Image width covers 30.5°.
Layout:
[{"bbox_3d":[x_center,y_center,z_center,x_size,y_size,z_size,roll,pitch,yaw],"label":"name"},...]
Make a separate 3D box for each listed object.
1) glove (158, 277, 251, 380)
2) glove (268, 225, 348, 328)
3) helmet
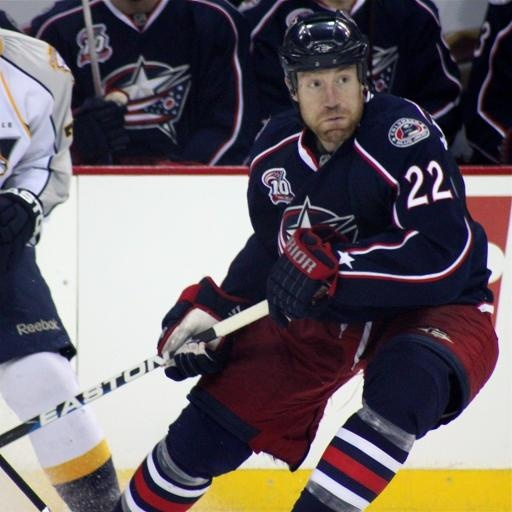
[{"bbox_3d":[-0.168,0.208,2.745,0.215,0.124,0.291,46,66,5],"label":"glove"},{"bbox_3d":[0.114,0.068,2.500,0.111,0.251,0.181,22,20,-47],"label":"glove"},{"bbox_3d":[0.183,-0.573,2.538,0.183,0.191,0.233,-6,33,8],"label":"helmet"}]
